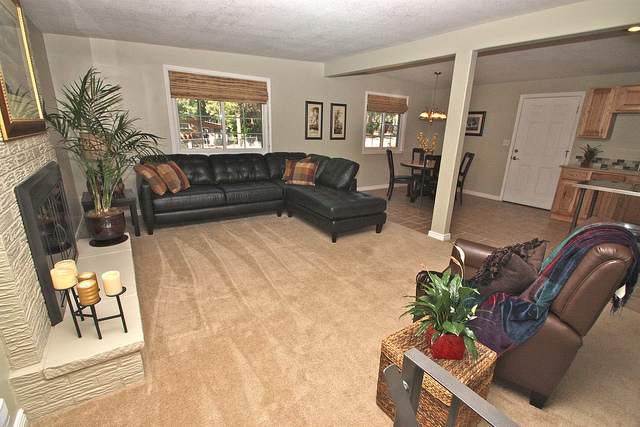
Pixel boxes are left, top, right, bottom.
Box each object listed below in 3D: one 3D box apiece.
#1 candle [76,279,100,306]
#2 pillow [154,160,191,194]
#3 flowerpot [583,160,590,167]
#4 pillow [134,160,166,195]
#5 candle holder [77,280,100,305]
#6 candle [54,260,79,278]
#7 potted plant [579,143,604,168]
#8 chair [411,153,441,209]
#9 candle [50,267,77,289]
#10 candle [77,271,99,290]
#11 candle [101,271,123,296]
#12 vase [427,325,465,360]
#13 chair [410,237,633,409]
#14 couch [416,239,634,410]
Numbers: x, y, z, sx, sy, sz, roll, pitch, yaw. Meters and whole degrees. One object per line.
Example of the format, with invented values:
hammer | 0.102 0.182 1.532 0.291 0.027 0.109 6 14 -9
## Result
candle | -1.908 0.650 3.171 0.194 0.201 0.191 -11 -2 -4
pillow | -2.102 -0.525 5.388 0.140 0.455 0.453 -27 13 20
flowerpot | 4.459 -0.834 6.338 0.077 0.112 0.122 10 18 28
pillow | -2.313 -0.464 5.198 0.335 0.394 0.247 10 19 29
candle holder | -1.912 0.646 3.115 0.138 0.192 0.163 -11 20 -34
candle | -2.128 0.452 3.182 0.165 0.146 0.158 2 4 -8
potted plant | 4.524 -0.952 6.458 0.410 0.414 0.387 9 5 43
chair | 1.939 -0.633 6.986 0.471 0.965 0.890 5 17 13
candle | -2.087 0.529 3.112 0.174 0.120 0.166 0 8 -12
candle | -1.979 0.572 3.217 0.132 0.141 0.135 5 6 42
candle | -1.692 0.561 3.128 0.187 0.199 0.179 -6 18 -28
vase | 0.949 1.019 2.958 0.320 0.208 0.250 -2 0 14
chair | 1.775 0.607 3.618 1.602 1.508 1.458 17 27 38
couch | 1.828 0.572 3.540 1.495 1.488 1.375 16 26 38
